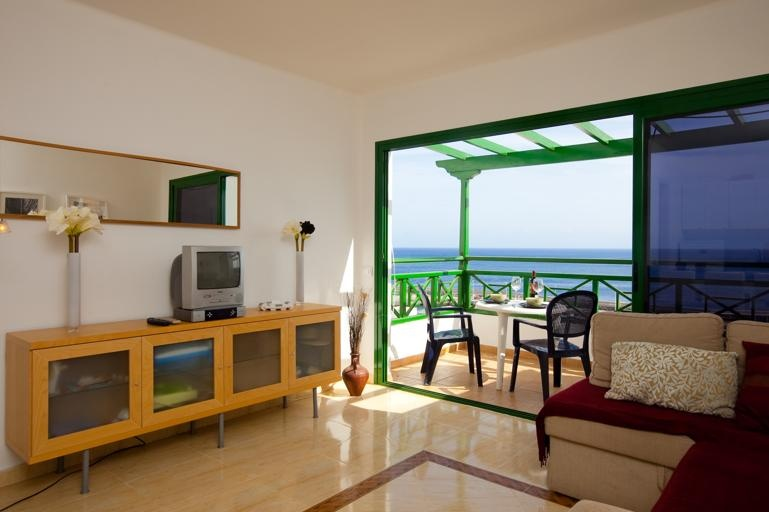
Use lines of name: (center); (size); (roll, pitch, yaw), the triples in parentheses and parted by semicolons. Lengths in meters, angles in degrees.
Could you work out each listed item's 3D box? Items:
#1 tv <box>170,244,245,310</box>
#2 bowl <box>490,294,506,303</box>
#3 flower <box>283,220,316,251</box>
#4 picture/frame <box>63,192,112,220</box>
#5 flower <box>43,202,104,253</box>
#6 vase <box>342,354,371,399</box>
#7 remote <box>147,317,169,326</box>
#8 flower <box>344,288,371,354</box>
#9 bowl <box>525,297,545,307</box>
tv: (-1.594, 0.181, 4.431); (0.573, 0.520, 0.533); (-2, -2, 39)
bowl: (1.300, 0.484, 5.892); (0.114, 0.062, 0.111); (-1, 2, 0)
flower: (-0.873, -0.213, 5.348); (0.317, 0.302, 0.308); (-7, 18, -23)
picture/frame: (-2.348, -0.395, 4.064); (0.018, 0.229, 0.250); (-11, -8, 38)
flower: (-2.380, -0.224, 3.965); (0.386, 0.361, 0.372); (1, 6, -5)
vase: (-0.291, 1.260, 5.548); (0.303, 0.462, 0.228); (-7, 10, -42)
remote: (-1.824, 0.533, 4.179); (0.177, 0.033, 0.091); (0, 0, 26)
flower: (-0.301, 0.716, 5.709); (0.270, 0.606, 0.547); (0, 8, -2)
bowl: (1.644, 0.508, 5.653); (0.133, 0.056, 0.129); (-2, 0, 0)
